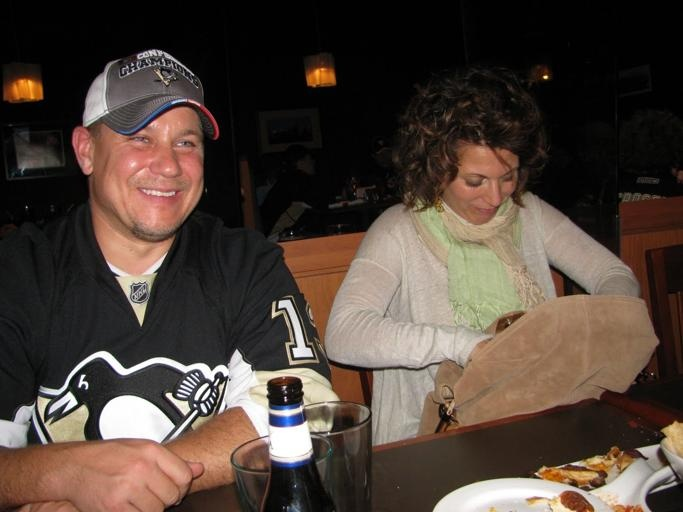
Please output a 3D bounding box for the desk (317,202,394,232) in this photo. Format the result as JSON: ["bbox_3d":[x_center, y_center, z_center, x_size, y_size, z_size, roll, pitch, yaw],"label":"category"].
[{"bbox_3d":[0.096,-0.385,5.064,0.591,0.408,0.317,-8,7,-13],"label":"desk"}]

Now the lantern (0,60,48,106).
[{"bbox_3d":[-3.096,-1.644,5.236,0.400,0.432,0.405,0,-12,-3],"label":"lantern"}]

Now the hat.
[{"bbox_3d":[-0.584,-0.491,1.641,0.453,0.265,0.361,5,11,41],"label":"hat"}]

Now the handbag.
[{"bbox_3d":[0.564,0.262,1.631,0.555,0.239,0.442,-15,-14,-2],"label":"handbag"}]

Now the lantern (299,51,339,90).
[{"bbox_3d":[-0.251,-2.226,6.600,0.398,0.384,0.395,-6,40,-3],"label":"lantern"}]

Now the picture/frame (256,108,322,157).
[{"bbox_3d":[-0.699,-1.552,6.665,0.693,0.444,0.097,-7,-2,-27],"label":"picture/frame"}]
